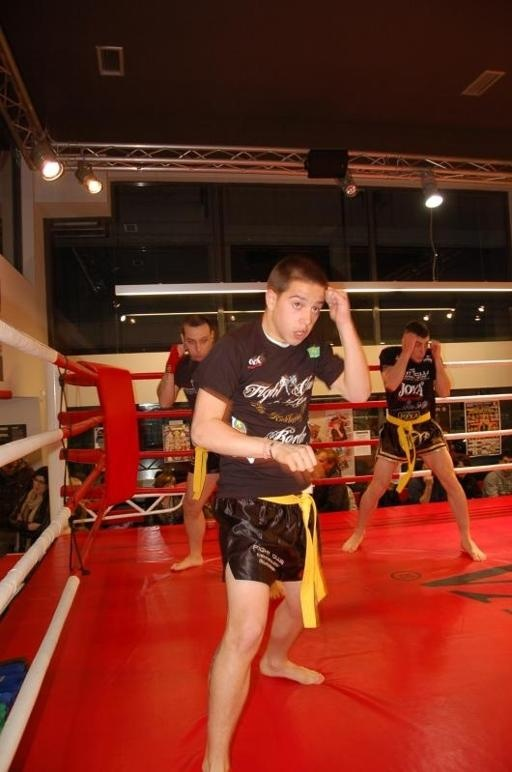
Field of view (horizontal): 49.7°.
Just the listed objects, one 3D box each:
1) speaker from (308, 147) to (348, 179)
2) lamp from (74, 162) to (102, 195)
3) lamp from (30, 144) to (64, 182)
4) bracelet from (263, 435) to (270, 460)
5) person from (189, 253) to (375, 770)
[{"bbox_3d":[0.563,-1.796,4.413,0.322,0.199,0.201,-2,-1,-12],"label":"speaker"},{"bbox_3d":[-1.324,-1.647,4.355,0.169,0.200,0.161,-1,-1,-43],"label":"lamp"},{"bbox_3d":[-1.516,-1.591,3.939,0.299,0.231,0.141,-3,-1,35],"label":"lamp"},{"bbox_3d":[0.021,0.148,1.179,0.012,0.031,0.023,6,-5,-5],"label":"bracelet"},{"bbox_3d":[0.086,0.265,1.408,0.390,0.900,0.617,-2,-1,15],"label":"person"}]
